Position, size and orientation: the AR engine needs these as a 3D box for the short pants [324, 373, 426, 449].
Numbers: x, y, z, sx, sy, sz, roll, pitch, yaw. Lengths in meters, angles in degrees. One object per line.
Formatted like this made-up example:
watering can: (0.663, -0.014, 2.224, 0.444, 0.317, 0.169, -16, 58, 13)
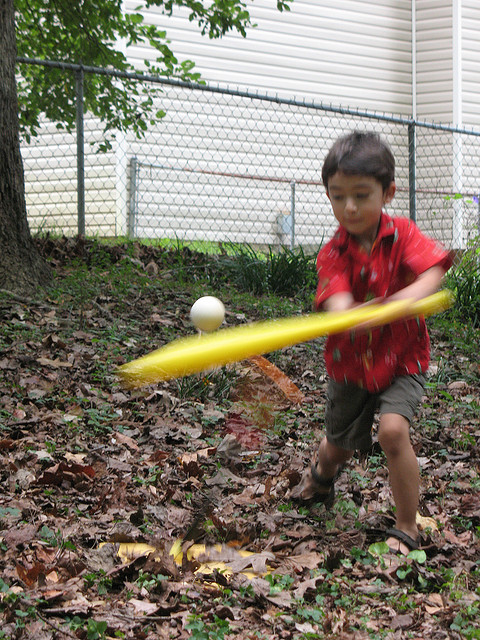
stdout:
short pants: (0.504, 0.342, 2.330, 0.386, 0.309, 0.208, -3, -14, 23)
